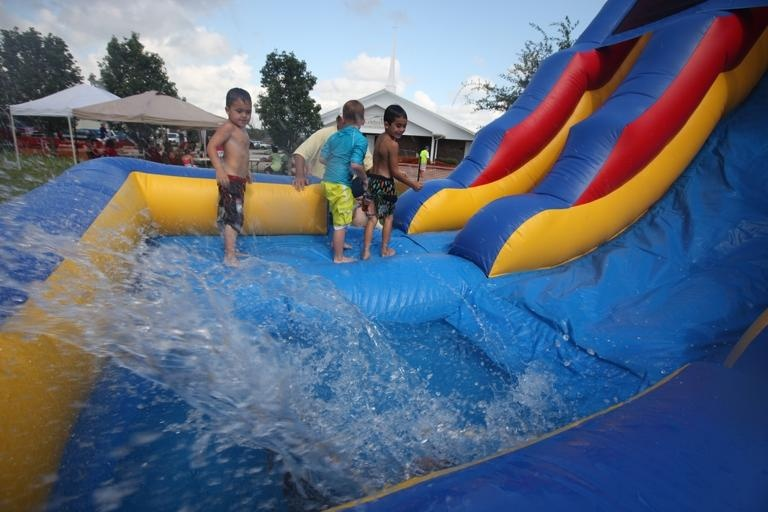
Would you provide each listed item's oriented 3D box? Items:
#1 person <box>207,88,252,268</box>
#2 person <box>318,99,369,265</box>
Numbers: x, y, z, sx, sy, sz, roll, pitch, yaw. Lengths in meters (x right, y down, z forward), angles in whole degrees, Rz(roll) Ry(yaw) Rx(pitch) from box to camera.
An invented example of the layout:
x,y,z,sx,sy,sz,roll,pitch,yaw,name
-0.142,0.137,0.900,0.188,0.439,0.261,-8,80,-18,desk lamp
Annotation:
x,y,z,sx,sy,sz,roll,pitch,yaw,name
-1.452,-0.767,4.955,0.364,1.478,0.727,2,21,-15,person
-0.422,-0.745,5.274,0.456,1.527,0.978,5,20,-8,person
